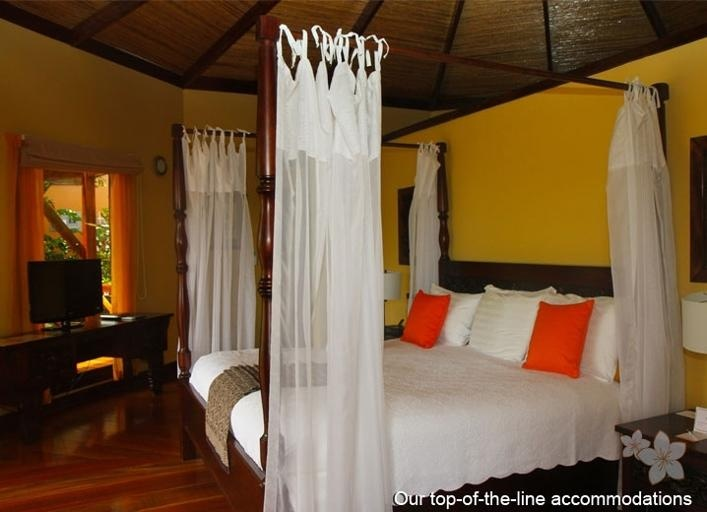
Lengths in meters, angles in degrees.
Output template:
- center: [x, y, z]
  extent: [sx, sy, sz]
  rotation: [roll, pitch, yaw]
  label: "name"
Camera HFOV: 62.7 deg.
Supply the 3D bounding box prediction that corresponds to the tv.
- center: [-3.110, 0.403, 6.291]
  extent: [0.134, 0.730, 0.977]
  rotation: [-1, 1, 19]
  label: "tv"
